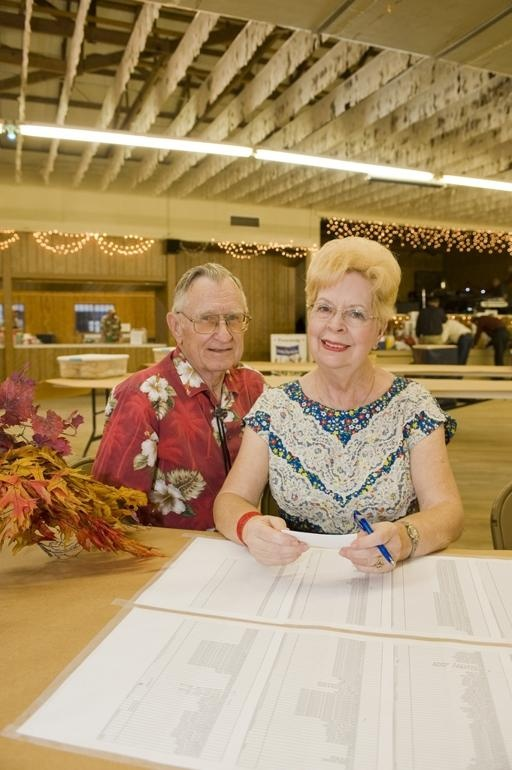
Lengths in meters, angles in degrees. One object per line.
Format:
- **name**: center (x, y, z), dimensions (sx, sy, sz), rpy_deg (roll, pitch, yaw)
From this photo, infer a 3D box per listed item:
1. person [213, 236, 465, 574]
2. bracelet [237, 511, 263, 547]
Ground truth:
- **person**: center (0.206, 0.080, 1.352), dimensions (0.578, 0.834, 0.545), rpy_deg (1, 10, 13)
- **bracelet**: center (-0.025, 0.277, 1.090), dimensions (0.058, 0.058, 0.042), rpy_deg (-15, -14, -19)
